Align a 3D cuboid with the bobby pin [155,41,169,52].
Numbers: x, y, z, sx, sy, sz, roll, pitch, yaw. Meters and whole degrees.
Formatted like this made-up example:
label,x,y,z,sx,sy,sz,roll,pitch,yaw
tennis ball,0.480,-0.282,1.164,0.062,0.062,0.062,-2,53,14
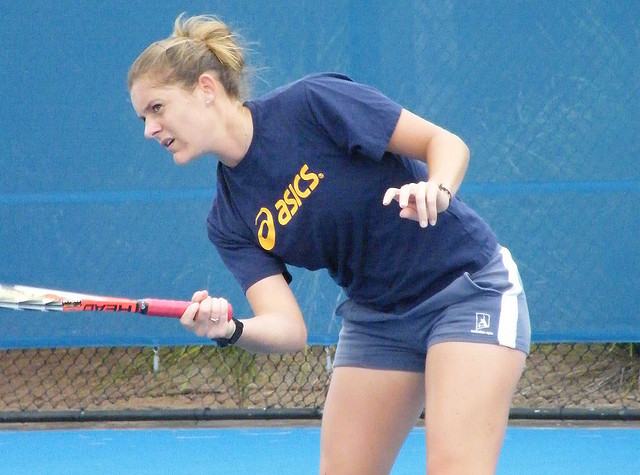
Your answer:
label,x,y,z,sx,sy,sz,roll,pitch,yaw
bobby pin,-0.730,-0.878,5.619,0.079,0.012,0.012,36,-11,18
